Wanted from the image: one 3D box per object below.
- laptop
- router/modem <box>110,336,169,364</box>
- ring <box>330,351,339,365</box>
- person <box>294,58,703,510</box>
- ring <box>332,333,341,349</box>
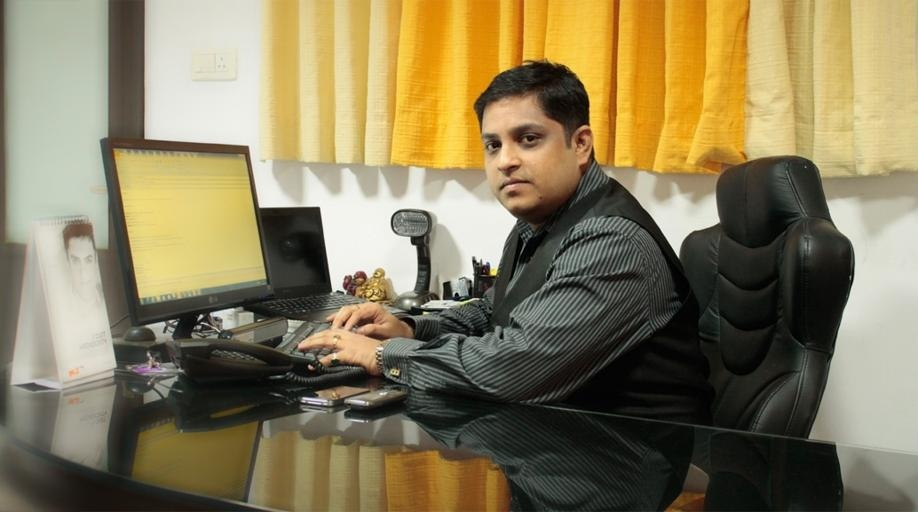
[{"bbox_3d":[-0.562,-0.007,2.526,0.495,0.326,0.459,13,11,33],"label":"laptop"},{"bbox_3d":[-0.976,0.294,1.948,0.121,0.026,0.124,3,6,15],"label":"router/modem"},{"bbox_3d":[-0.371,0.307,1.889,0.036,0.042,0.015,2,1,-11],"label":"ring"},{"bbox_3d":[0.305,0.036,2.496,1.517,1.745,0.980,1,-6,-5],"label":"person"},{"bbox_3d":[-0.371,0.258,1.910,0.037,0.016,0.027,-43,15,39],"label":"ring"}]
